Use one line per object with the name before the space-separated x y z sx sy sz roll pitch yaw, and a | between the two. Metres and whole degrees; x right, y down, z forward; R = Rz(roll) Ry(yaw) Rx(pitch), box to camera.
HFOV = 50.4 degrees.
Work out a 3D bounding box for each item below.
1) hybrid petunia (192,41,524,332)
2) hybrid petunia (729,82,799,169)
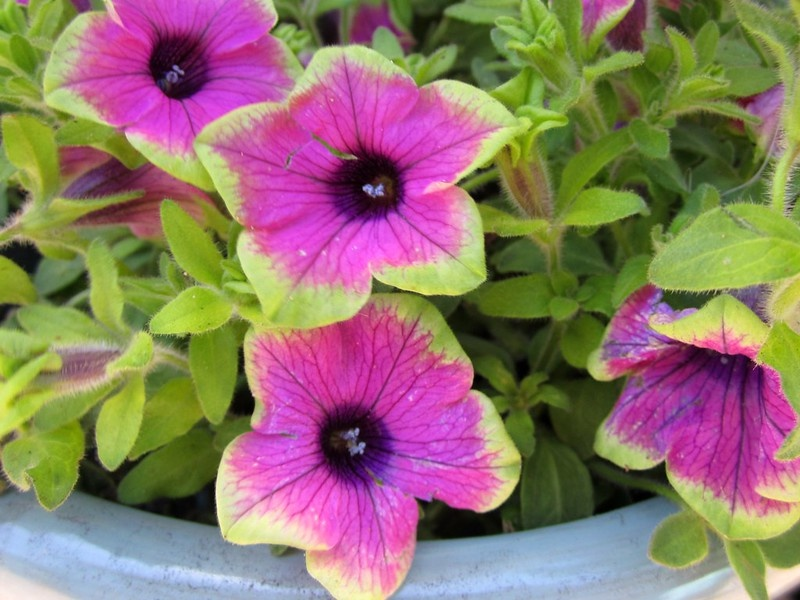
hybrid petunia | -0.036 -0.137 0.963 0.352 0.328 0.130 -18 0 11
hybrid petunia | 0.478 -0.233 1.112 0.068 0.098 0.218 -16 2 20
